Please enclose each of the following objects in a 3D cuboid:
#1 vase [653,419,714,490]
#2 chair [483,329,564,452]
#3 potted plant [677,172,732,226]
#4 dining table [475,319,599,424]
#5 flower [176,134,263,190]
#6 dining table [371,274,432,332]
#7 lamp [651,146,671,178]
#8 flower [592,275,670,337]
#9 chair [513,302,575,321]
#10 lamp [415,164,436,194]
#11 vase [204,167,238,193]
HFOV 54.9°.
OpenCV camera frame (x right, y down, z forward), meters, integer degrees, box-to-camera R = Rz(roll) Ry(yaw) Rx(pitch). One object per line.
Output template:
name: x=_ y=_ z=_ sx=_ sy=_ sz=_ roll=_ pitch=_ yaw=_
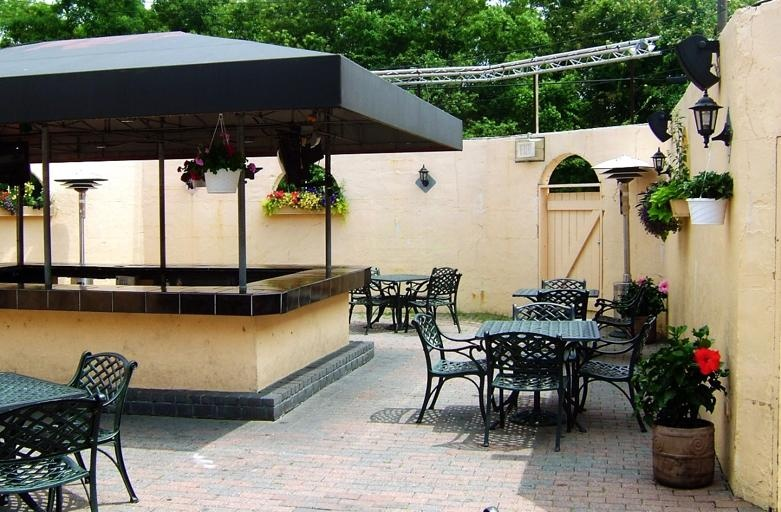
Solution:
vase: x=2.622 y=1.824 z=6.952 sx=0.631 sy=0.486 sz=0.631 roll=-6 pitch=-10 yaw=44
chair: x=1.402 y=1.274 z=7.941 sx=0.823 sy=1.230 sz=1.173 roll=3 pitch=15 yaw=12
potted plant: x=2.855 y=-0.526 z=6.970 sx=0.544 sy=0.418 sz=0.472 roll=2 pitch=-5 yaw=2
dining table: x=1.649 y=1.397 z=8.254 sx=1.799 sy=0.705 sz=0.873 roll=0 pitch=5 yaw=10
flower: x=-1.966 y=-0.990 z=8.663 sx=0.915 sy=0.495 sz=0.816 roll=0 pitch=4 yaw=-10
dining table: x=0.098 y=0.802 z=13.326 sx=1.109 sy=0.870 sz=1.053 roll=0 pitch=0 yaw=31
lamp: x=4.387 y=-1.529 z=12.339 sx=0.231 sy=0.503 sz=0.864 roll=6 pitch=15 yaw=21
flower: x=3.679 y=0.737 z=11.384 sx=1.395 sy=0.845 sz=1.273 roll=-4 pitch=-2 yaw=6
chair: x=1.881 y=0.677 z=9.270 sx=0.498 sy=0.143 sz=0.319 roll=1 pitch=2 yaw=12
lamp: x=0.692 y=-1.509 z=14.741 sx=0.371 sy=0.519 sz=0.168 roll=1 pitch=16 yaw=2
vase: x=-1.849 y=-0.836 z=8.379 sx=0.394 sy=0.276 sz=0.167 roll=0 pitch=16 yaw=-1
